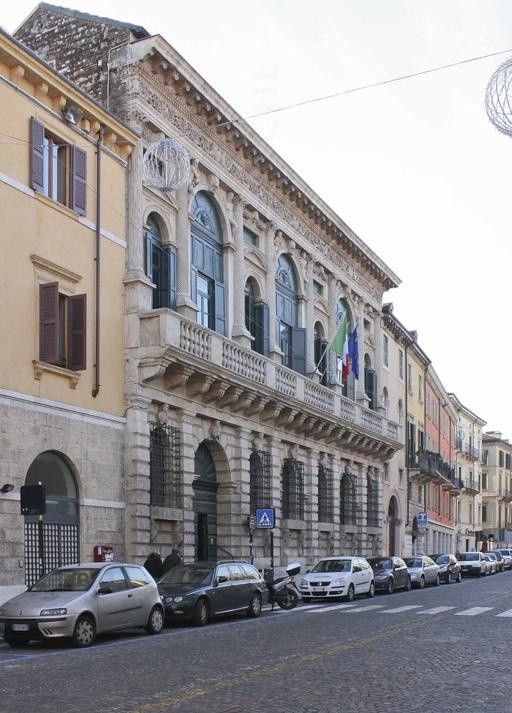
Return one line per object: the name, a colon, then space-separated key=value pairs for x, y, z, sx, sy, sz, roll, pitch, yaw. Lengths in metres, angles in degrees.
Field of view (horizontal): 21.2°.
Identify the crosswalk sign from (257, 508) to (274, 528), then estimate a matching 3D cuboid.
crosswalk sign: x=0.175 y=4.198 z=35.033 sx=0.325 sy=0.481 sz=0.045 roll=-5 pitch=-14 yaw=20
